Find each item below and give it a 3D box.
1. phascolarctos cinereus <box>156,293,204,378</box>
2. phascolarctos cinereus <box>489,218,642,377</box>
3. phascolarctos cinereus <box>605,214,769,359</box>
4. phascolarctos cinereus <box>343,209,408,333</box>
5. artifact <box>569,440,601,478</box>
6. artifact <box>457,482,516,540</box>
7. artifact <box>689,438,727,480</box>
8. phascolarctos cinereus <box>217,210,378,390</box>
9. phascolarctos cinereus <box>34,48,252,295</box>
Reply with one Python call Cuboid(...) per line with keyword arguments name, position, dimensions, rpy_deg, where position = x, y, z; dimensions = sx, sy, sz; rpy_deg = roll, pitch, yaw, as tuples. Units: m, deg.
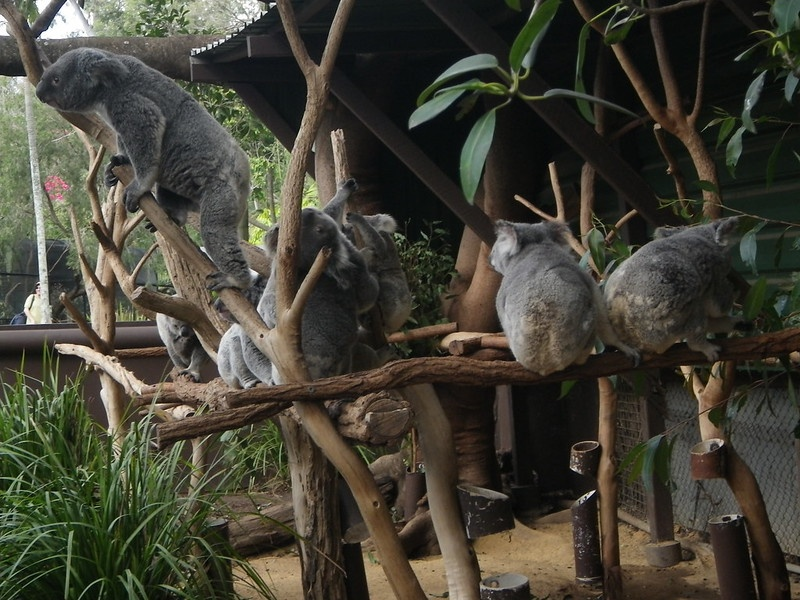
Cuboid(name="phascolarctos cinereus", position=(-1.443, 0.220, 5.101), dimensions=(0.290, 0.642, 0.623), rpy_deg=(-4, 6, -17))
Cuboid(name="phascolarctos cinereus", position=(0.639, -0.034, 3.288), dimensions=(0.457, 0.620, 0.737), rpy_deg=(-13, 18, -30))
Cuboid(name="phascolarctos cinereus", position=(1.208, -0.054, 3.291), dimensions=(0.682, 0.521, 0.448), rpy_deg=(-23, 21, -22))
Cuboid(name="phascolarctos cinereus", position=(-0.190, -0.123, 3.630), dimensions=(0.164, 0.504, 0.370), rpy_deg=(-15, -15, 12))
Cuboid(name="artifact", position=(1.140, 0.963, 4.766), dimensions=(0.217, 0.227, 0.198), rpy_deg=(3, 5, 8))
Cuboid(name="artifact", position=(0.440, 1.054, 3.940), dimensions=(0.293, 0.277, 0.224), rpy_deg=(-15, -3, 10))
Cuboid(name="artifact", position=(1.541, 0.814, 3.931), dimensions=(0.180, 0.168, 0.203), rpy_deg=(-3, -11, 0))
Cuboid(name="phascolarctos cinereus", position=(-0.408, 0.010, 3.593), dimensions=(0.548, 0.917, 0.415), rpy_deg=(6, -3, 7))
Cuboid(name="phascolarctos cinereus", position=(-1.173, -0.645, 3.687), dimensions=(1.126, 0.900, 0.508), rpy_deg=(15, 9, -2))
